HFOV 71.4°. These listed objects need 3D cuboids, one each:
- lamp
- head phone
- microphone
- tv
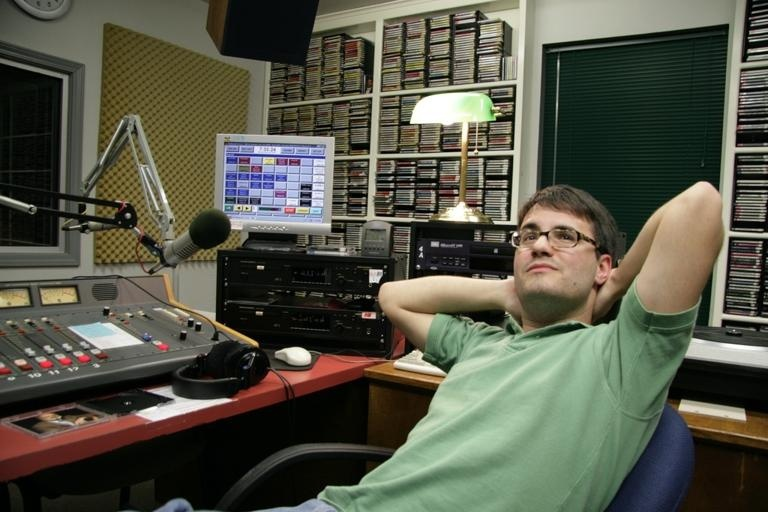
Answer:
[{"bbox_3d":[0.442,-0.596,3.291,0.662,0.775,0.596,-5,7,-39],"label":"lamp"},{"bbox_3d":[-0.576,0.394,1.876,0.250,0.117,0.304,8,13,31],"label":"head phone"},{"bbox_3d":[-0.752,-0.064,2.009,0.437,0.127,0.126,-25,25,23],"label":"microphone"},{"bbox_3d":[-0.540,-0.324,2.633,0.795,0.565,0.114,2,2,1],"label":"tv"}]
